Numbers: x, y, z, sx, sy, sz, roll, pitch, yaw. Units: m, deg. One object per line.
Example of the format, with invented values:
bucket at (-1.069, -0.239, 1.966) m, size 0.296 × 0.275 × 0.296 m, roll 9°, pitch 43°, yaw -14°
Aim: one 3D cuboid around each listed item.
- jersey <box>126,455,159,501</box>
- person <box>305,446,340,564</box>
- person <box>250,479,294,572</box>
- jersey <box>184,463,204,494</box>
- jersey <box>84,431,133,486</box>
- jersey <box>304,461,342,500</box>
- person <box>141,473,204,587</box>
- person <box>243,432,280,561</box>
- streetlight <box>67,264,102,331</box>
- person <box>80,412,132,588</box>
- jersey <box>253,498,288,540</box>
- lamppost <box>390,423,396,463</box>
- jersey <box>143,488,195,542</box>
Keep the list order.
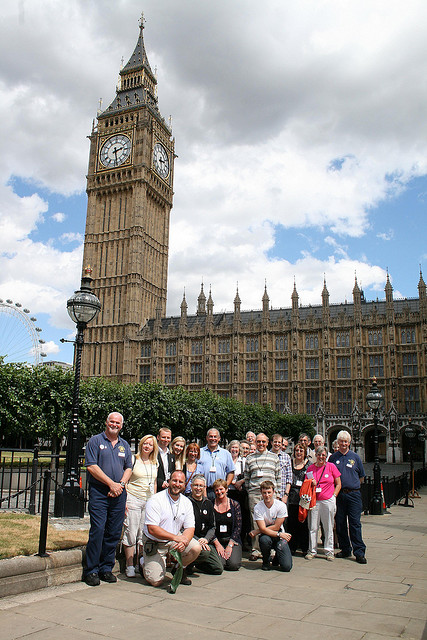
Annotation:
jersey at (-1.017, 2.266, 8.644) m, size 0.352 × 0.652 × 0.536 m, roll -5°, pitch -14°, yaw 45°
person at (1.774, 2.954, 9.599) m, size 0.542 × 1.758 × 0.736 m, roll -1°, pitch -11°, yaw 10°
person at (0.906, 3.032, 8.824) m, size 0.566 × 1.225 × 0.768 m, roll 2°, pitch -11°, yaw -5°
jersey at (-0.275, 2.424, 9.140) m, size 0.419 × 0.425 × 0.228 m, roll 2°, pitch -32°, yaw 6°
jersey at (-1.393, 1.843, 7.949) m, size 0.676 × 0.622 × 0.368 m, roll 5°, pitch -11°, yaw -22°
jersey at (1.777, 2.648, 9.732) m, size 0.609 × 0.635 × 0.370 m, roll -6°, pitch -18°, yaw 21°
person at (-0.501, 2.662, 7.582) m, size 0.805 × 1.342 × 0.767 m, roll 6°, pitch -4°, yaw 7°
person at (0.822, 2.777, 9.579) m, size 0.626 × 1.927 × 0.621 m, roll -2°, pitch 10°, yaw 20°
streetlight at (-2.848, -0.431, 13.092) m, size 0.606 × 1.294 × 0.651 m, roll -3°, pitch -11°, yaw 20°
person at (-1.424, 2.290, 7.792) m, size 0.556 × 2.149 × 0.760 m, roll 1°, pitch -11°, yaw 4°
jersey at (0.892, 3.014, 8.962) m, size 0.500 × 0.513 × 0.275 m, roll -8°, pitch -6°, yaw 21°
lamppost at (15.350, 10.539, 50.520) m, size 0.468 × 3.046 × 0.530 m, roll -3°, pitch -11°, yaw 21°
jersey at (-0.560, 2.494, 7.674) m, size 0.681 × 0.585 × 0.368 m, roll 13°, pitch -11°, yaw -26°
